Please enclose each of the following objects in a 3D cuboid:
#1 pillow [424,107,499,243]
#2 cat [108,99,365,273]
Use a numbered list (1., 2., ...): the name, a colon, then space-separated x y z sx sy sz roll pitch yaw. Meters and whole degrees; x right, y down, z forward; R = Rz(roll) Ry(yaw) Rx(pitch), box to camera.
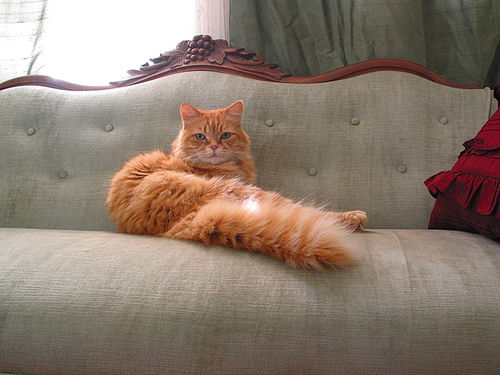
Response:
1. pillow: 0.758 -0.019 1.609 0.121 0.399 0.293 20 -17 -26
2. cat: -0.016 -0.050 1.587 0.854 0.487 0.423 7 9 28
